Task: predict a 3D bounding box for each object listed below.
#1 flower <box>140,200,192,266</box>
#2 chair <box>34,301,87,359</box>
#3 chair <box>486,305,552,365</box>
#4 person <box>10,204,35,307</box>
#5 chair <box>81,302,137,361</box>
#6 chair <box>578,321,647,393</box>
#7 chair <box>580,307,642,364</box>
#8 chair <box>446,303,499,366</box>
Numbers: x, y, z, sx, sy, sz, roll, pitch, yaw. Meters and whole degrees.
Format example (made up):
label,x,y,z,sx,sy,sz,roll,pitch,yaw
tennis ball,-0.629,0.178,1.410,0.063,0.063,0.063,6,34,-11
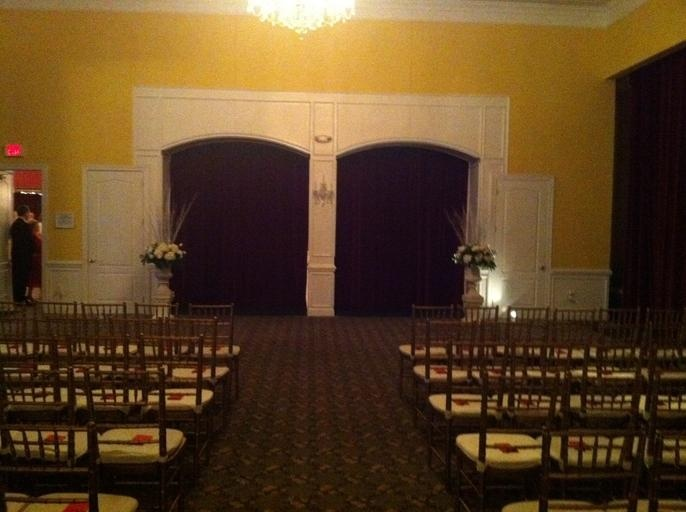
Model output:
label,x,y,z,sx,sy,sz,roll,pitch,yaw
flower,-3.073,-0.261,10.623,0.666,1.106,0.666,9,-17,-42
chair,-3.048,0.792,6.667,0.479,0.860,0.506,2,-7,-15
chair,2.028,0.897,7.074,0.541,1.027,0.607,1,-11,11
person,-5.620,-0.065,10.892,0.387,1.659,0.627,-1,1,-32
chair,-2.527,0.813,6.680,0.490,0.923,0.519,0,-6,-16
chair,2.670,0.989,6.081,0.495,0.938,0.558,1,9,7
chair,3.163,0.930,7.246,0.614,1.125,0.646,0,-5,22
chair,1.510,0.898,7.144,0.504,0.964,0.556,1,14,2
